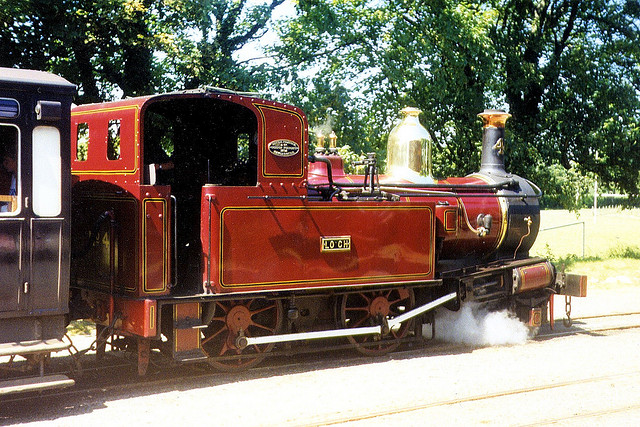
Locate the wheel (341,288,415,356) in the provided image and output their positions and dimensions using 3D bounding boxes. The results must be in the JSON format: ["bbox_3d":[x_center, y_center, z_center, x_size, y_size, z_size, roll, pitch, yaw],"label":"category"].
[{"bbox_3d":[1.108,1.663,10.026,1.145,1.191,0.279,3,2,-20],"label":"wheel"}]

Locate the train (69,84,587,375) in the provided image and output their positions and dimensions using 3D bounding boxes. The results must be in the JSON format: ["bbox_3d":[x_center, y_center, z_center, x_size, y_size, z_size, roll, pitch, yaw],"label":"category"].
[{"bbox_3d":[0.709,0.013,11.412,9.892,4.130,4.174,-4,5,-36],"label":"train"}]
